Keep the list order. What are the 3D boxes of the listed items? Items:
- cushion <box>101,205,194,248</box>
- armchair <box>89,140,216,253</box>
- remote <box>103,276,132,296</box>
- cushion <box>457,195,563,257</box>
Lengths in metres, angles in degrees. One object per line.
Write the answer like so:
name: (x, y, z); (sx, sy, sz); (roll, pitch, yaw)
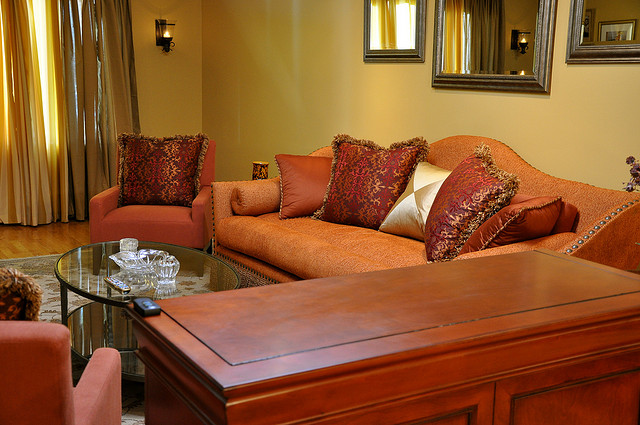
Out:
cushion: (-1.464, 0.075, 4.231); (0.731, 0.321, 0.727); (2, 9, -18)
armchair: (-1.431, -0.246, 4.146); (1.105, 0.940, 0.933); (-5, 14, -28)
remote: (-1.037, 0.371, 2.492); (0.055, 0.024, 0.222); (-23, 18, -25)
cushion: (0.935, 0.078, 2.410); (0.447, 0.332, 0.230); (7, 15, 24)
